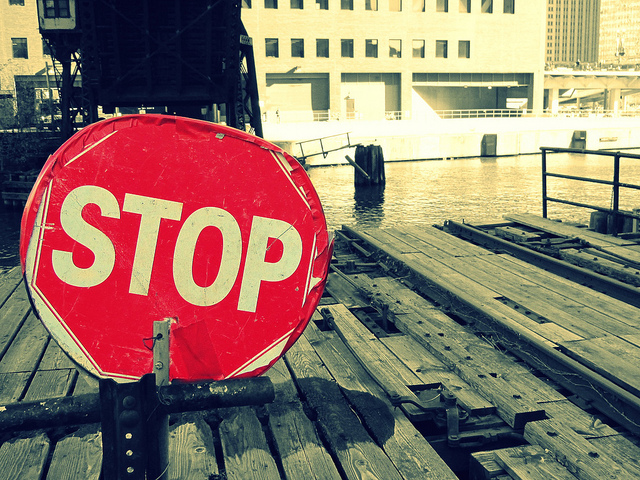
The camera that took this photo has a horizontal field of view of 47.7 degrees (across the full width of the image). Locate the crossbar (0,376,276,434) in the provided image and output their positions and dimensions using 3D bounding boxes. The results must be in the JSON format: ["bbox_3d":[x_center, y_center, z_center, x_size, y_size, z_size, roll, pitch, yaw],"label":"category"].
[{"bbox_3d":[-1.024,0.927,4.094,1.517,0.231,0.265,-3,14,-4],"label":"crossbar"}]
